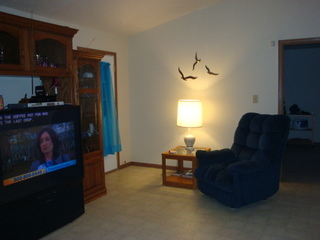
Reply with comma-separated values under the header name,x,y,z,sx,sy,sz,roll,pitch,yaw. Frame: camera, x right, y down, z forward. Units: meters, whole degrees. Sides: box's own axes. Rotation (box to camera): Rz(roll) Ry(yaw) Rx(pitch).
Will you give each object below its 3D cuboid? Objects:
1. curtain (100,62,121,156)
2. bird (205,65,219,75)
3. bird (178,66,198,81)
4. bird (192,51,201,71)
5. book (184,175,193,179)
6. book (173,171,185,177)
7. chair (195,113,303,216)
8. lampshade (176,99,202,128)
name,x,y,z,sx,sy,sz,roll,pitch,yaw
curtain,-1.030,-0.231,4.905,0.190,1.834,0.456,3,9,34
bird,1.025,-0.972,4.828,0.328,0.113,0.087,38,27,17
bird,0.546,-0.955,5.048,0.362,0.118,0.197,24,-8,23
bird,0.729,-1.200,4.946,0.184,0.394,0.091,1,8,20
book,0.525,1.059,4.529,0.128,0.029,0.057,1,2,27
book,0.378,1.033,4.801,0.192,0.077,0.351,0,9,11
chair,1.292,0.629,4.003,1.342,1.307,1.262,-8,6,-36
lampshade,0.537,-0.137,4.636,0.439,0.541,0.470,0,6,4
